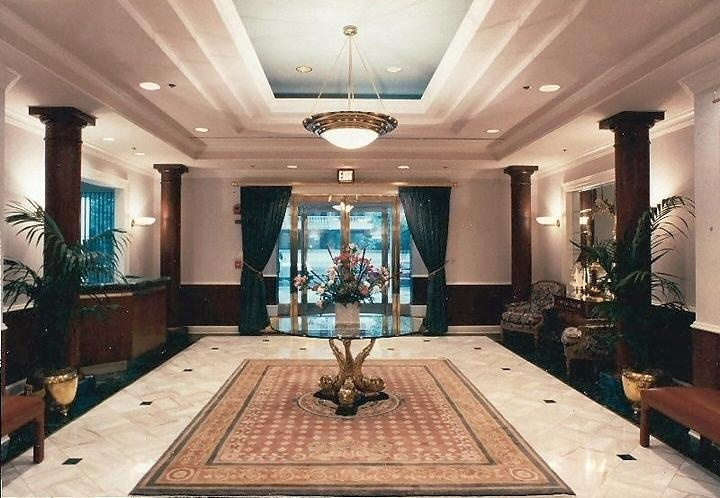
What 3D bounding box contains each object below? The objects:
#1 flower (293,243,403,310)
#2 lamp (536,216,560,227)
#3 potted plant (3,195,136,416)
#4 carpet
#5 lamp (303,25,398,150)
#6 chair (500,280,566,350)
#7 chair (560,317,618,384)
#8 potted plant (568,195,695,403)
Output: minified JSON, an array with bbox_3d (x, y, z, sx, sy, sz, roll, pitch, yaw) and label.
[{"bbox_3d":[-0.110,0.426,6.244,1.025,0.626,0.907,-2,3,33],"label":"flower"},{"bbox_3d":[3.635,-0.500,8.867,0.354,0.197,0.455,4,6,39],"label":"lamp"},{"bbox_3d":[-3.935,0.564,6.276,1.351,2.434,2.703,-2,6,-26],"label":"potted plant"},{"bbox_3d":[-0.069,1.927,5.070,3.573,0.143,2.497,0,5,4],"label":"carpet"},{"bbox_3d":[-0.101,-1.816,5.834,1.440,1.514,1.353,0,-9,2],"label":"lamp"},{"bbox_3d":[3.090,1.168,8.367,1.041,1.109,0.965,2,6,22],"label":"chair"},{"bbox_3d":[3.140,1.366,6.406,0.850,0.918,0.709,0,-7,7],"label":"chair"},{"bbox_3d":[3.521,0.564,5.972,1.135,2.472,1.909,4,6,34],"label":"potted plant"}]
